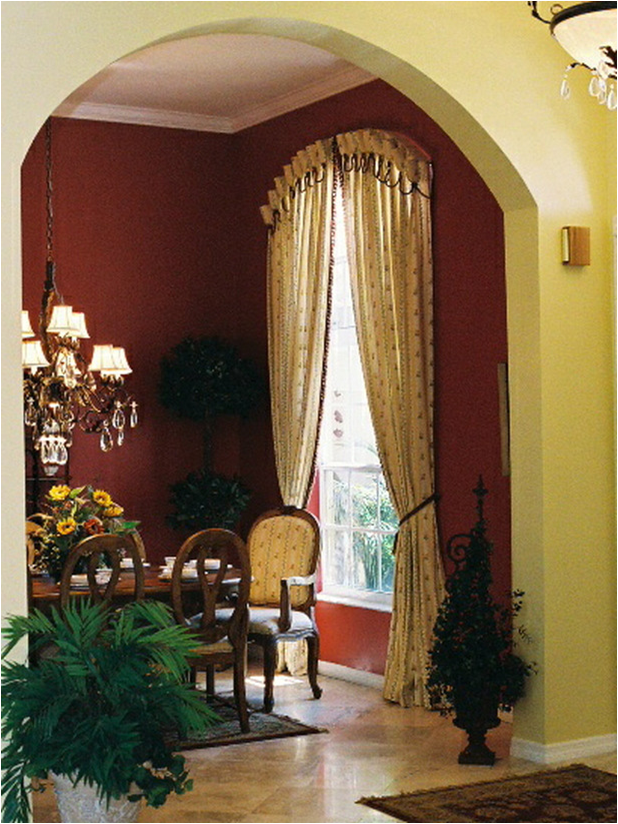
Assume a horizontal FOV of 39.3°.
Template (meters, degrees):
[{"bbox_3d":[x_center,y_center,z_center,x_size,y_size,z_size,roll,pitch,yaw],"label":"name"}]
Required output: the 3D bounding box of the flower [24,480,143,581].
[{"bbox_3d":[-1.121,0.571,4.608,0.626,0.610,0.620,6,-10,-35],"label":"flower"}]

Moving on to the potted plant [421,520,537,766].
[{"bbox_3d":[0.718,0.978,3.698,0.432,1.025,0.316,-3,-7,13],"label":"potted plant"}]
